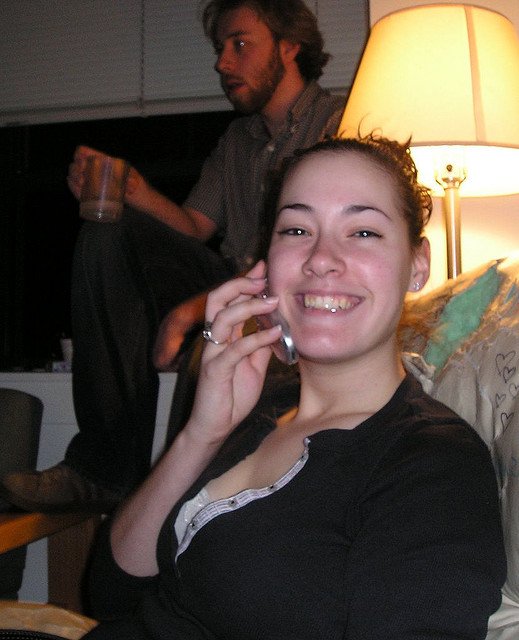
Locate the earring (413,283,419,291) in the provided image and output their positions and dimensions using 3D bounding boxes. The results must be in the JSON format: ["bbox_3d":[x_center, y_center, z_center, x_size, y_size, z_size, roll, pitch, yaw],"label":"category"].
[{"bbox_3d":[0.231,-0.050,0.923,0.009,0.009,0.003,1,-2,-13],"label":"earring"}]

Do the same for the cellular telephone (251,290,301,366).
[{"bbox_3d":[0.020,-0.006,0.933,0.042,0.041,0.158,-24,57,-20],"label":"cellular telephone"}]

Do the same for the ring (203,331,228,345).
[{"bbox_3d":[-0.067,0.025,0.955,0.038,0.019,0.018,3,16,-1],"label":"ring"}]
